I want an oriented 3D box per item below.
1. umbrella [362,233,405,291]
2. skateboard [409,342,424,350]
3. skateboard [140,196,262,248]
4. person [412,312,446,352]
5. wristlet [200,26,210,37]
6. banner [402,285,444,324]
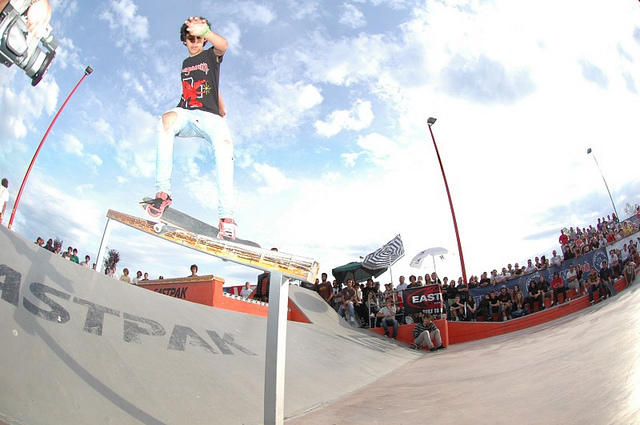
[{"bbox_3d":[2.720,2.152,13.982,1.850,1.636,1.662,-35,-58,-5],"label":"umbrella"},{"bbox_3d":[3.197,4.529,11.233,0.172,0.241,0.199,17,-22,-26],"label":"skateboard"},{"bbox_3d":[-2.016,0.210,5.124,1.551,0.235,0.365,27,10,7],"label":"skateboard"},{"bbox_3d":[3.576,3.929,11.038,0.782,1.077,1.195,6,-9,-35],"label":"person"},{"bbox_3d":[-2.857,-4.578,8.324,0.233,0.292,0.230,-8,-6,-13],"label":"wristlet"},{"bbox_3d":[3.879,3.454,12.951,1.693,1.214,1.034,-6,-9,-9],"label":"banner"}]
